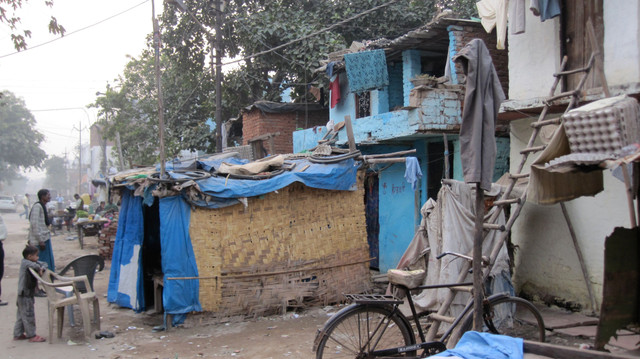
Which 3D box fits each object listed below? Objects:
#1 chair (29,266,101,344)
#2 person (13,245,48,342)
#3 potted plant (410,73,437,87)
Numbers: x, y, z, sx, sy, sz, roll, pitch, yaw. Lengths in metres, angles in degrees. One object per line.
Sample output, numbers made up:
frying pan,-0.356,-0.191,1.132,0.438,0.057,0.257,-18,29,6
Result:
chair,-8.127,3.966,22.134,2.366,2.726,2.082,-1,-2,-4
person,-8.923,3.481,21.043,0.972,2.918,0.743,-4,-3,-23
potted plant,3.690,-3.399,24.147,0.719,0.249,0.691,4,-2,-16
